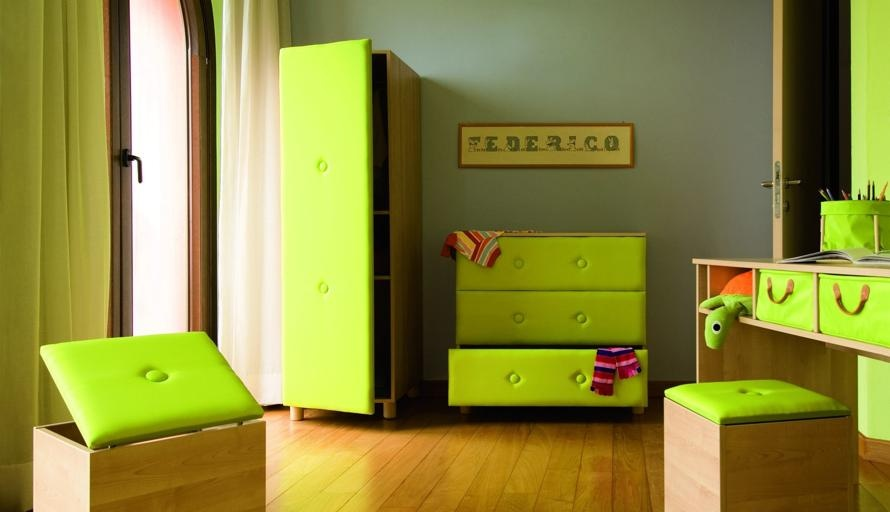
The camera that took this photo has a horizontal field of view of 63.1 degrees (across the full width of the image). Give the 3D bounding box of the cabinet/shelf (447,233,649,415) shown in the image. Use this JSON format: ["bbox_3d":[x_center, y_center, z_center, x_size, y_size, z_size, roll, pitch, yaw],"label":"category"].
[{"bbox_3d":[0.823,0.443,5.044,1.356,1.151,0.984,-2,-2,27],"label":"cabinet/shelf"}]

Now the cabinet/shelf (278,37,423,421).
[{"bbox_3d":[-0.651,-0.161,4.787,0.889,2.433,0.927,0,12,5],"label":"cabinet/shelf"}]

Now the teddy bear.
[{"bbox_3d":[1.496,0.270,3.846,0.148,0.280,0.422,21,54,5],"label":"teddy bear"}]
